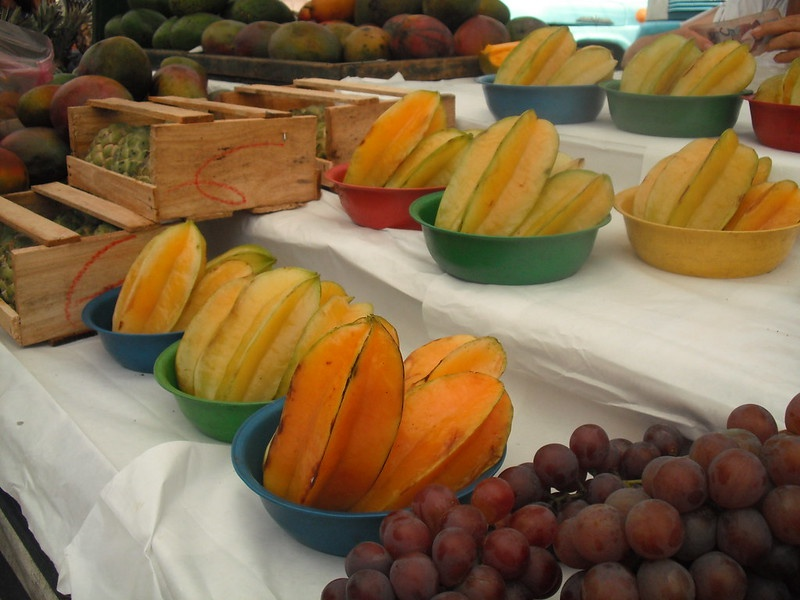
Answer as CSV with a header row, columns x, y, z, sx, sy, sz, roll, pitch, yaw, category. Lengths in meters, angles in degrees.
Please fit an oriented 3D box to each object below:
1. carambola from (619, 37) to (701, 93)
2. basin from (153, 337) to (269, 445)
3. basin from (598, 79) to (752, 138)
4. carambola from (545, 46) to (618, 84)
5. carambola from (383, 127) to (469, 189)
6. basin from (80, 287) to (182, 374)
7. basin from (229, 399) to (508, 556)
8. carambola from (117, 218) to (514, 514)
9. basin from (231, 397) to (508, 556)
x,y,z,sx,sy,sz,roll,pitch,yaw,category
0.487,-0.451,1.182,0.147,0.044,0.122,-4,34,43,carambola
-0.258,0.132,0.832,0.129,0.054,0.133,6,24,-2,basin
0.499,-0.374,1.217,0.193,0.077,0.201,8,12,-2,basin
0.376,-0.471,1.261,0.128,0.044,0.080,-32,53,-2,carambola
0.043,-0.243,1.127,0.185,0.055,0.117,-28,25,-2,carambola
-0.439,0.060,0.983,0.139,0.064,0.146,3,19,-1,basin
-0.085,0.203,0.677,0.187,0.059,0.189,0,15,0,basin
-0.116,0.007,0.712,0.422,0.163,0.278,22,30,28,carambola
-0.091,0.201,0.679,0.186,0.059,0.189,1,15,0,basin
